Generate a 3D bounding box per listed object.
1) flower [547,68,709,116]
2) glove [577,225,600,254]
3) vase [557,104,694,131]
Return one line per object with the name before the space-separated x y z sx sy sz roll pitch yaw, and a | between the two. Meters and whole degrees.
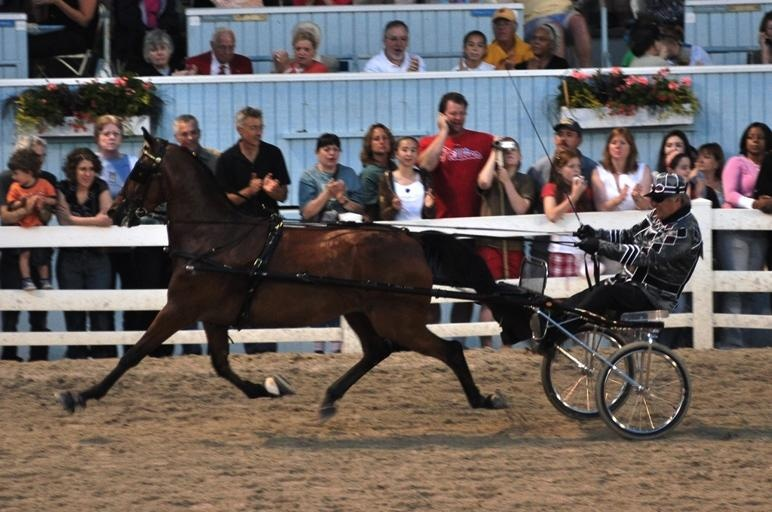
flower | 2.997 -2.026 19.105 1.124 0.284 0.804 2 2 15
glove | 2.052 -0.177 15.737 0.220 0.276 0.313 1 7 6
vase | 2.967 -1.717 19.159 1.642 0.307 0.380 -3 26 -9
